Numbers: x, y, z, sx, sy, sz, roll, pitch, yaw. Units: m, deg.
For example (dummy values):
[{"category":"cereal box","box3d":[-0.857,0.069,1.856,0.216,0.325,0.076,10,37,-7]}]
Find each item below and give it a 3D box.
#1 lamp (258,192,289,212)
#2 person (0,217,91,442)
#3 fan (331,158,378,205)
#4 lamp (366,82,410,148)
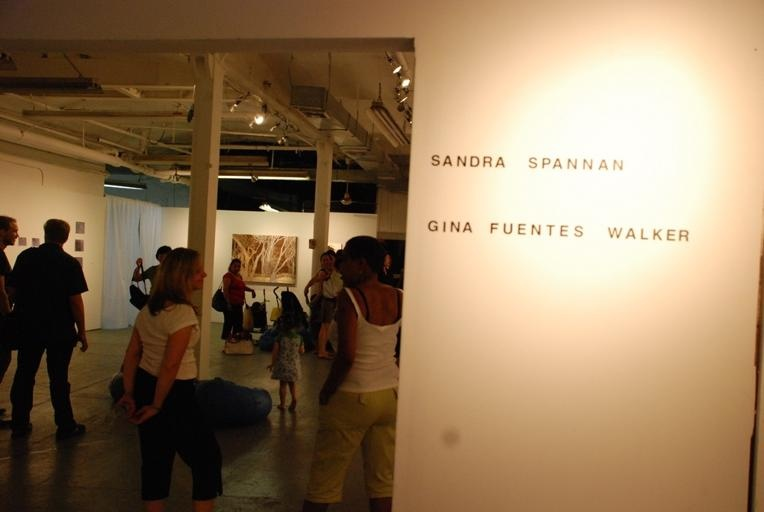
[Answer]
[{"category":"lamp","box3d":[-3.094,-1.535,16.024,0.686,0.680,0.188,9,-9,3]},{"category":"person","box3d":[-3.441,0.741,5.888,0.779,2.226,0.472,1,3,-12]},{"category":"fan","box3d":[-0.831,-2.002,15.905,1.229,1.305,1.207,2,3,-2]},{"category":"lamp","box3d":[0.126,-2.237,9.787,0.305,0.624,1.530,-2,-14,16]}]
